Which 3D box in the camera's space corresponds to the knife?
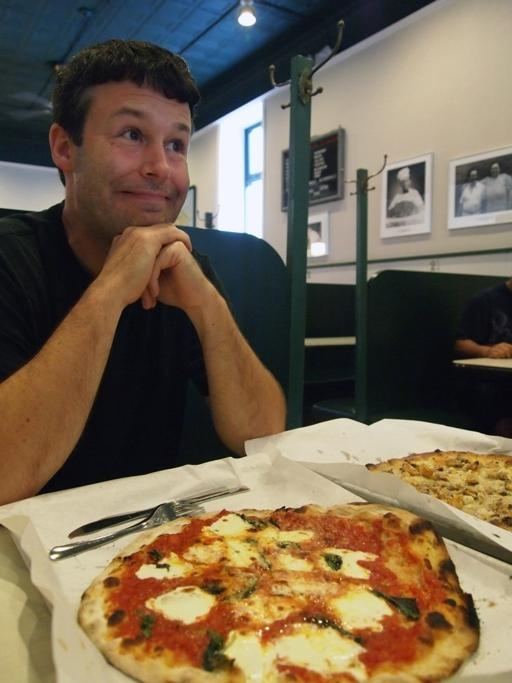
[{"bbox_3d":[-0.123,0.203,0.660,0.182,0.010,0.021,-5,21,-37],"label":"knife"}]
